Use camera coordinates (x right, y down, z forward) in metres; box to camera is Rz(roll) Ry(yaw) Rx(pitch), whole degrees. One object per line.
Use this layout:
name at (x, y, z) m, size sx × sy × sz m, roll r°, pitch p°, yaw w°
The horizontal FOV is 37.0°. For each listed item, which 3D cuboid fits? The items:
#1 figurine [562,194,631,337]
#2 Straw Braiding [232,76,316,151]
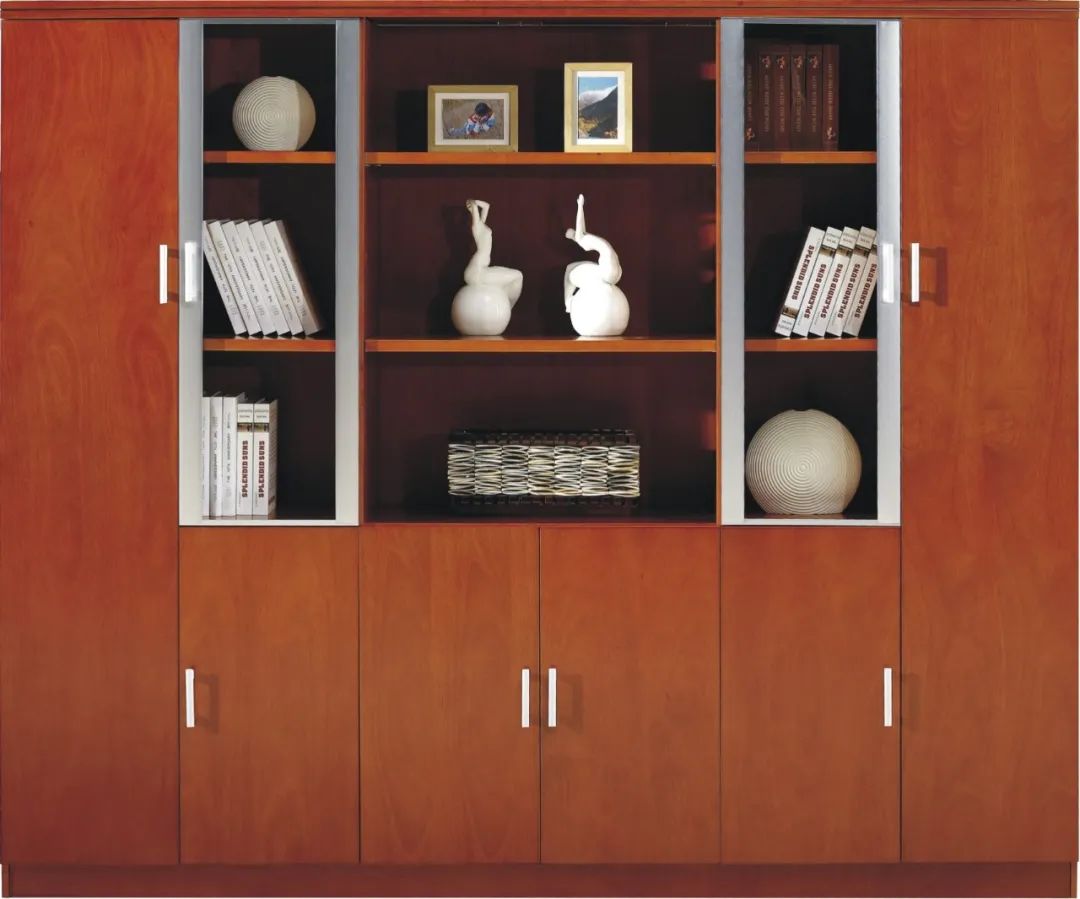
figurine at (0.138, -0.471, 4.268) m, size 0.162 × 0.156 × 0.385 m, roll 0°, pitch -97°, yaw 14°
Straw Braiding at (-0.694, -0.845, 4.176) m, size 0.215 × 0.240 × 0.057 m, roll -21°, pitch -21°, yaw -16°
